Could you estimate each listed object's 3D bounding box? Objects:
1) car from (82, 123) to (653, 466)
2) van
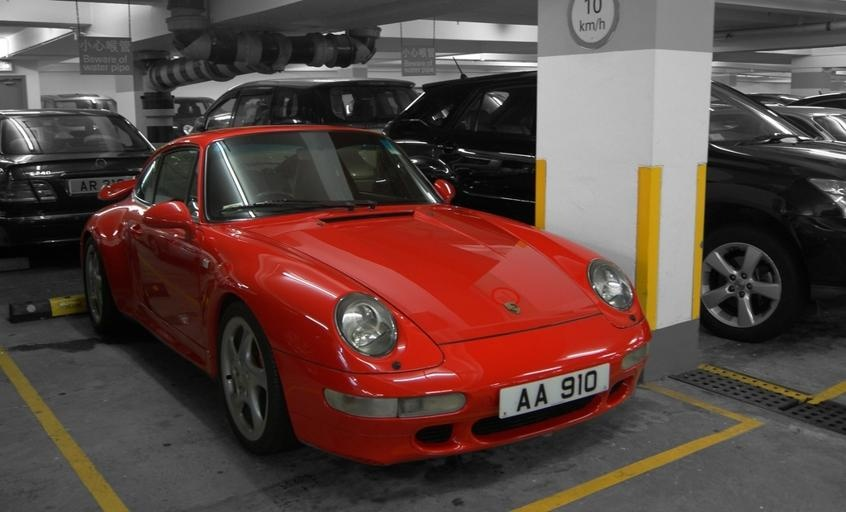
[{"bbox_3d":[-1.027,0.051,4.432,2.697,1.388,4.965,-3,11,-36],"label":"car"},{"bbox_3d":[-2.407,-2.240,10.202,2.626,1.778,4.383,-11,20,-38],"label":"van"}]
